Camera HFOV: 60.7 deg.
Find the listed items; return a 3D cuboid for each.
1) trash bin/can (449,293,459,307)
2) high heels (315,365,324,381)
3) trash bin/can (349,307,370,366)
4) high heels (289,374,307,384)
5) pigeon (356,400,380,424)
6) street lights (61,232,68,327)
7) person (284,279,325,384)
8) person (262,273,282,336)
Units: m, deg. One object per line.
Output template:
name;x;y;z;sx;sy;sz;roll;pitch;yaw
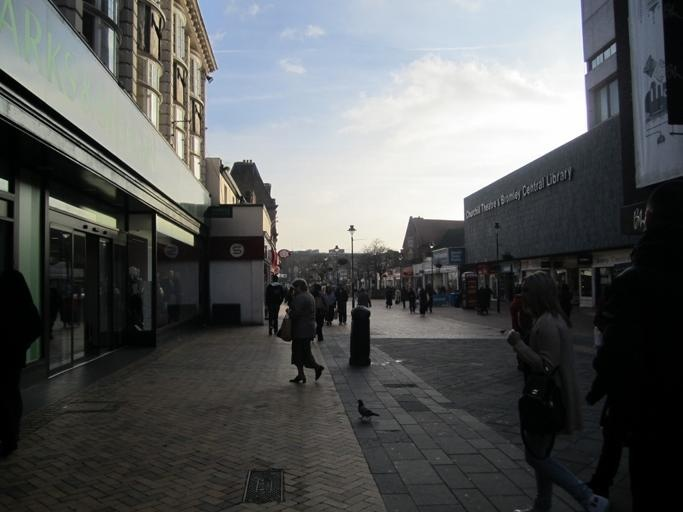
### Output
trash bin/can;8.006;3.110;41.356;0.667;0.769;0.746;0;-5;-5
high heels;-0.400;2.097;10.506;0.103;0.357;0.135;7;9;-5
trash bin/can;0.366;1.680;12.125;0.437;1.224;0.515;-2;-3;0
high heels;-0.758;2.182;10.355;0.324;0.172;0.132;4;-2;6
pigeon;0.357;2.109;7.881;0.298;0.358;0.183;1;-10;4
street lights;-5.458;0.455;11.565;0.101;1.850;0.611;-1;-3;-14
person;-0.683;1.344;10.732;0.587;1.870;0.913;-2;-3;-3
person;-2.124;1.555;18.592;0.506;1.927;1.360;-1;-4;-6
